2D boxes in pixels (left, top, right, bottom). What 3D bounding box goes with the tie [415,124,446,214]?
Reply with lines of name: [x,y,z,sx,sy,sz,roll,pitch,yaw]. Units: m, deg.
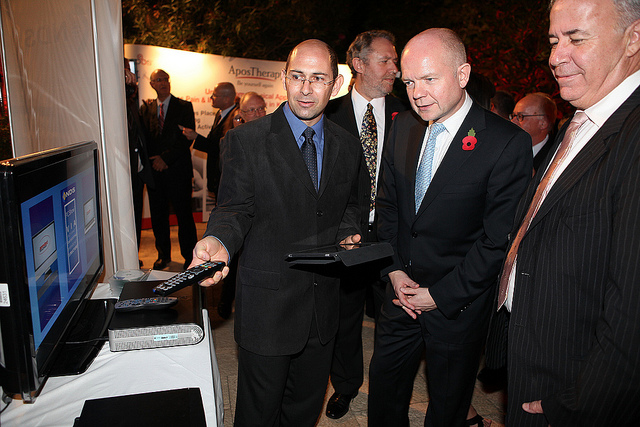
tie: [0.532,-0.236,2.366,0.089,0.524,0.065,13,-9,29]

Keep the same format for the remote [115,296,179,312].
remote: [-0.784,0.398,2.123,0.206,0.035,0.116,1,-2,-11]

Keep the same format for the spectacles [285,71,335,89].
spectacles: [-0.056,-0.620,2.239,0.196,0.050,0.062,2,20,-4]

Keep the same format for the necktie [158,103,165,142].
necktie: [-1.834,-1.069,5.465,0.077,0.373,0.235,-4,21,-18]

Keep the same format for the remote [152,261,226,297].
remote: [-0.491,0.228,1.877,0.106,0.047,0.345,6,16,37]

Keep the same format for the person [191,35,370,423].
person: [-0.149,0.149,2.325,0.692,1.895,0.760,5,20,5]

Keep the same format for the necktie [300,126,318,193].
necktie: [-0.044,-0.253,2.278,0.077,0.315,0.039,0,-3,-19]

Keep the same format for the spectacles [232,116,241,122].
spectacles: [-0.796,-0.908,4.543,0.069,0.054,0.052,2,20,-5]
